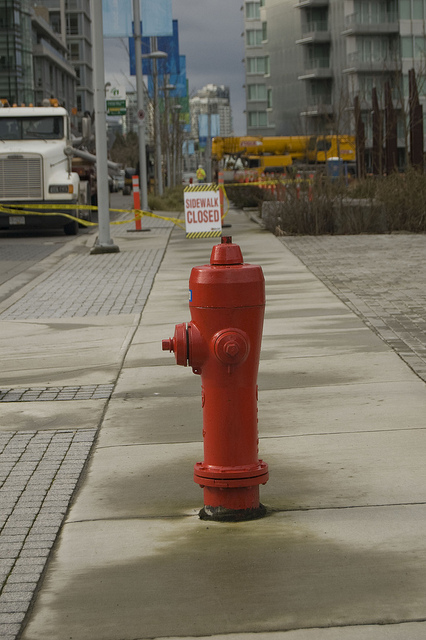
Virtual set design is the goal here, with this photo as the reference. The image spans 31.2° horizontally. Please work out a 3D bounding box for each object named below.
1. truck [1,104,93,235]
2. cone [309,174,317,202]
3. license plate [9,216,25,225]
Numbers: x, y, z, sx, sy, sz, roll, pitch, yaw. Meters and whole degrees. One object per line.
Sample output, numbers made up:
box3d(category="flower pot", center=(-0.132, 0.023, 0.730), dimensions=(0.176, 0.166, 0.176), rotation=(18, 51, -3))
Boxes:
box3d(category="truck", center=(-4.525, -3.691, 21.102), dimensions=(1.996, 2.298, 3.729), rotation=(-3, -4, 6))
box3d(category="cone", center=(2.303, -3.019, 17.715), dimensions=(0.180, 0.519, 0.440), rotation=(-2, 8, 7))
box3d(category="license plate", center=(-5.035, -2.560, 19.478), dimensions=(0.386, 0.191, 0.159), rotation=(-4, 8, -7))
